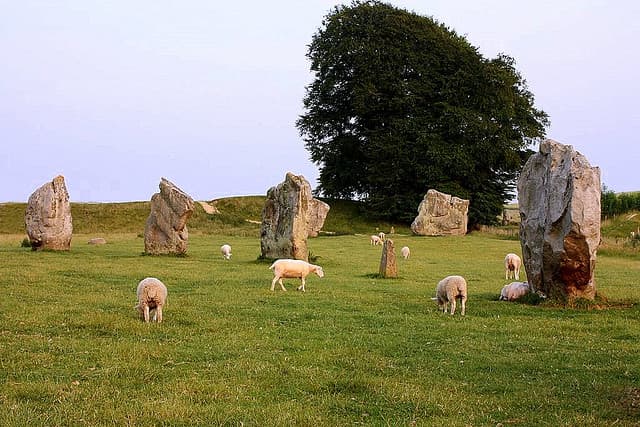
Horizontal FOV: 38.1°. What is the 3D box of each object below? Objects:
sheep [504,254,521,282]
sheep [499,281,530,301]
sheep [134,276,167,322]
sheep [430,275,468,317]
[{"bbox_3d":[10.584,2.862,50.774,0.788,1.475,1.935,4,0,14],"label":"sheep"},{"bbox_3d":[9.342,3.719,44.455,1.375,0.889,0.862,3,0,0],"label":"sheep"},{"bbox_3d":[-7.002,3.572,38.710,1.127,1.770,1.043,3,0,-13],"label":"sheep"},{"bbox_3d":[5.974,3.606,41.910,1.348,1.765,1.548,3,0,8],"label":"sheep"}]
